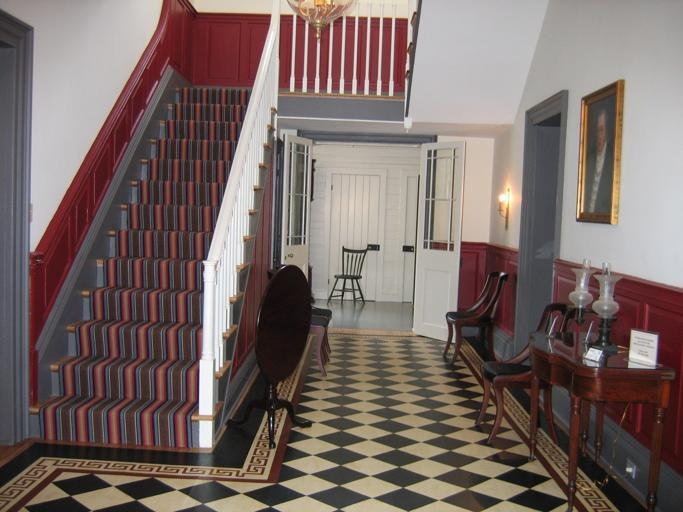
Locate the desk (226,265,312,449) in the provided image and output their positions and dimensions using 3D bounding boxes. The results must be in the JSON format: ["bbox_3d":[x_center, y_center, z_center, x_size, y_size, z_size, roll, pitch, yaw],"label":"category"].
[{"bbox_3d":[-0.565,0.811,4.620,0.629,1.483,0.860,4,3,5],"label":"desk"}]

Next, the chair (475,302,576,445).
[{"bbox_3d":[1.577,1.006,4.750,0.798,1.115,0.740,2,2,26],"label":"chair"}]

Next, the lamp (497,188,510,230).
[{"bbox_3d":[2.228,-0.653,7.335,0.136,0.418,0.537,4,3,11],"label":"lamp"}]

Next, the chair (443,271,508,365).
[{"bbox_3d":[1.689,0.772,6.922,0.851,1.172,0.796,4,4,44],"label":"chair"}]

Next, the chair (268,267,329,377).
[{"bbox_3d":[-0.454,0.756,6.446,0.815,1.190,0.810,-5,12,-20],"label":"chair"}]

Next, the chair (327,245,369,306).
[{"bbox_3d":[0.129,0.388,10.515,0.596,1.070,0.704,4,4,12],"label":"chair"}]

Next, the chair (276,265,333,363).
[{"bbox_3d":[-0.364,0.732,6.381,0.561,0.867,0.531,9,11,-13],"label":"chair"}]
